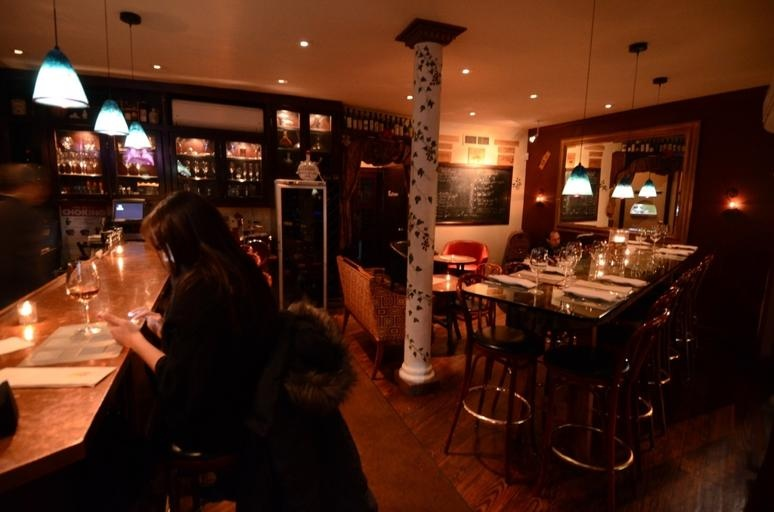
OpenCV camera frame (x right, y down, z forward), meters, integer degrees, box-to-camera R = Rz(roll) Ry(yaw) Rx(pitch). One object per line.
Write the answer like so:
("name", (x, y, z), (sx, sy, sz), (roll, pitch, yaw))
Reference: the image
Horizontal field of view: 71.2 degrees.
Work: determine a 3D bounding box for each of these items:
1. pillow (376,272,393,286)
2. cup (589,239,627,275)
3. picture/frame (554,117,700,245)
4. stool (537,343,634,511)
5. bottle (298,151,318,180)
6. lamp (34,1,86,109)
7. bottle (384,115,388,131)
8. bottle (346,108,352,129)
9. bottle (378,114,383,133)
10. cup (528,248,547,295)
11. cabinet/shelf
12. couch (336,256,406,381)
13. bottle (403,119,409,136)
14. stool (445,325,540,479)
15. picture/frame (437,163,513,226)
("pillow", (-0.048, 0.312, 6.769), (0.203, 0.206, 0.216), (-4, 14, -12))
("cup", (2.398, 0.027, 5.882), (0.346, 0.596, 0.370), (0, 3, 0))
("picture/frame", (3.615, -1.115, 7.979), (0.148, 1.661, 1.919), (-4, 9, -27))
("stool", (1.796, 1.328, 4.788), (0.809, 1.322, 1.092), (6, 12, 21))
("bottle", (-1.084, -1.226, 7.647), (0.361, 0.472, 0.401), (2, 4, -9))
("lamp", (-2.825, -1.551, 4.627), (0.363, 0.509, 0.389), (10, 14, 36))
("bottle", (-0.011, -2.040, 8.476), (0.076, 0.176, 0.082), (2, 11, 0))
("bottle", (-0.577, -2.057, 8.080), (0.120, 0.279, 0.068), (-8, 15, -40))
("bottle", (-0.092, -2.011, 8.378), (0.067, 0.212, 0.172), (2, 11, 2))
("cup", (1.389, 0.134, 4.992), (0.165, 0.440, 0.176), (0, 15, 0))
("cabinet/shelf", (-2.589, -1.317, 7.471), (3.875, 1.658, 0.546), (4, 8, 1))
("couch", (-0.196, 0.723, 6.018), (0.570, 0.864, 1.133), (-4, 17, -18))
("bottle", (0.308, -2.058, 8.700), (0.097, 0.252, 0.208), (7, 12, 26))
("stool", (1.038, 1.179, 5.152), (0.777, 1.255, 1.277), (5, 11, 16))
("picture/frame", (1.461, -1.092, 9.390), (1.105, 0.705, 0.048), (-2, 6, -22))
